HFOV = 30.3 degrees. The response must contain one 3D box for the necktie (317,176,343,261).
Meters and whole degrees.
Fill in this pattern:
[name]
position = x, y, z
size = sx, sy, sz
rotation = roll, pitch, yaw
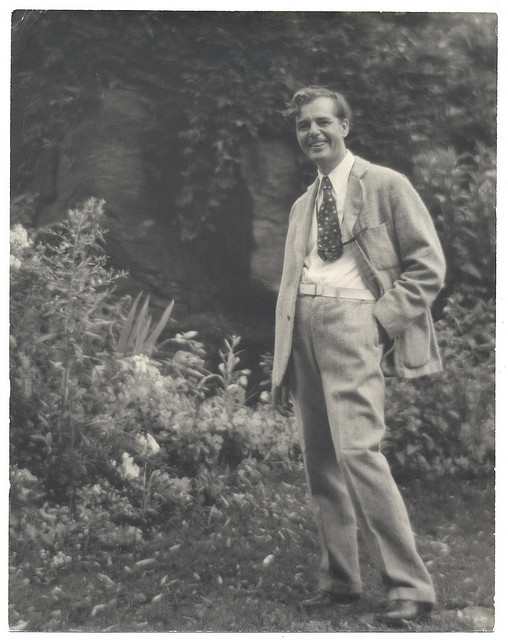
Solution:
[necktie]
position = 0.343, -0.508, 4.670
size = 0.096, 0.423, 0.163
rotation = 0, 3, -19
